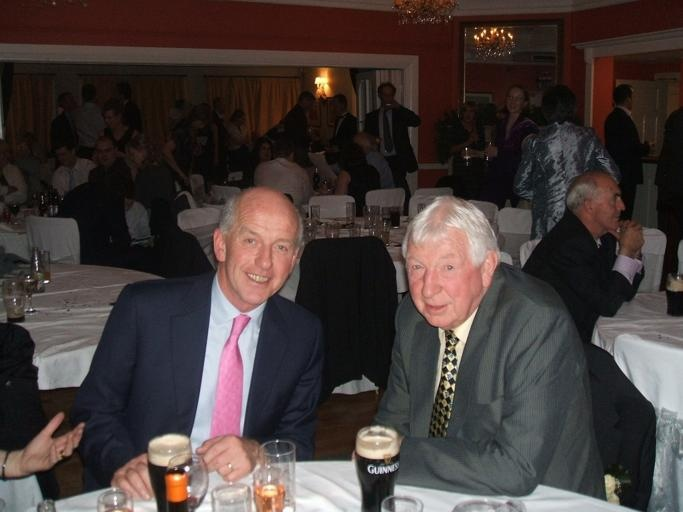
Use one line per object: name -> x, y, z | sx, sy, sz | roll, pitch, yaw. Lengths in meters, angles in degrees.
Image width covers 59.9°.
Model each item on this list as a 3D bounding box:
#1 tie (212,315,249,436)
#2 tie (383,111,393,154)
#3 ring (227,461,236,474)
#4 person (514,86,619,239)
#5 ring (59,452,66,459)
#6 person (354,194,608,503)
tie -> -0.355, 0.395, 1.949 | 0.081, 0.399, 0.149 | 5, 9, 29
tie -> 0.664, -1.758, 8.418 | 0.197, 0.609, 0.113 | 1, 8, 4
ring -> -0.313, 0.593, 1.670 | 0.016, 0.024, 0.008 | -1, -5, 8
person -> 1.976, -0.568, 5.287 | 0.748, 1.996, 0.635 | -3, 38, 16
ring -> -0.888, 0.635, 1.893 | 0.019, 0.021, 0.008 | -2, -1, -33
person -> 0.437, 0.205, 2.326 | 0.827, 1.538, 0.735 | -3, 4, -17
